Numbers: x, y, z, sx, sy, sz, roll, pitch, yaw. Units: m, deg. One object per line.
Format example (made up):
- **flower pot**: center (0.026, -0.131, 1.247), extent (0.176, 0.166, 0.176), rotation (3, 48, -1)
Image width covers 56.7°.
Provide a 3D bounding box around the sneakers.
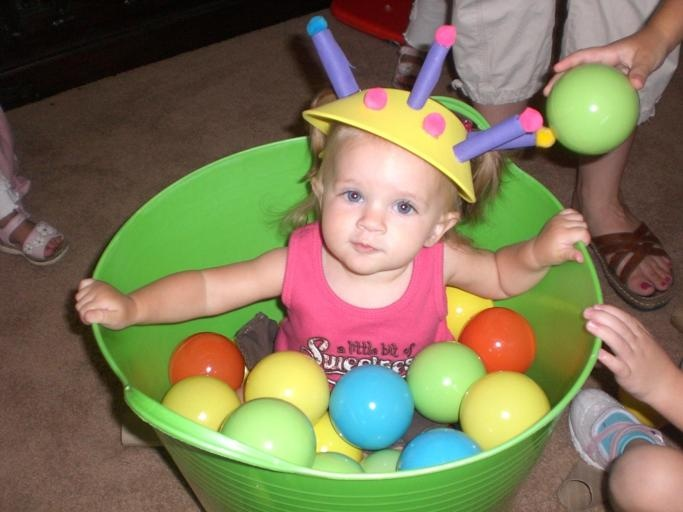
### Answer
- **sneakers**: center (0.615, 0.402, 1.458), extent (0.230, 0.104, 0.096), rotation (43, 89, 16)
